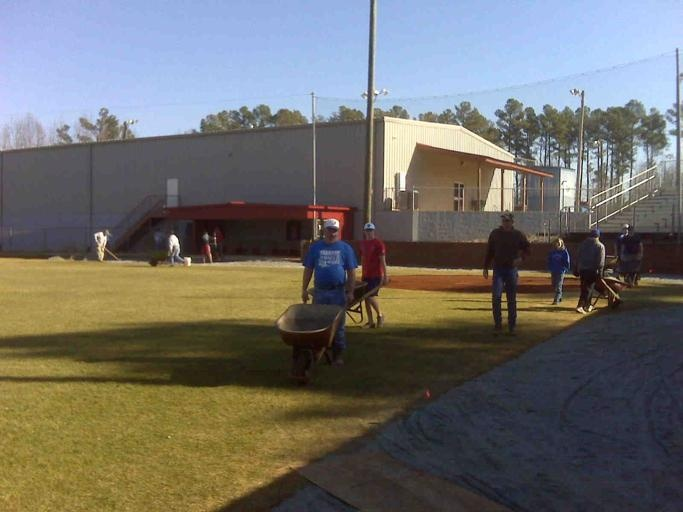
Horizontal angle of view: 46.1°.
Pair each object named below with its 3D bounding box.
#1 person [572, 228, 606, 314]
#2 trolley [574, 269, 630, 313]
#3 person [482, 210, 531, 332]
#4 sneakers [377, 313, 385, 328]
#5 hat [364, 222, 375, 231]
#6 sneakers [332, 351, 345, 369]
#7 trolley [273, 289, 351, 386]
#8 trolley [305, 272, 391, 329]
[{"bbox_3d":[4.997,0.287,16.181,0.541,1.726,0.757,2,11,17],"label":"person"},{"bbox_3d":[5.499,0.803,16.943,0.671,0.691,1.732,-3,-12,22],"label":"trolley"},{"bbox_3d":[2.908,0.289,14.244,0.758,2.124,1.017,1,11,12],"label":"person"},{"bbox_3d":[0.704,1.185,14.565,0.153,0.223,0.491,-2,-12,5],"label":"sneakers"},{"bbox_3d":[0.509,-0.550,14.632,0.178,0.167,0.272,4,-7,17],"label":"hat"},{"bbox_3d":[-0.040,1.531,11.745,0.184,0.236,0.197,1,-4,1],"label":"sneakers"},{"bbox_3d":[-0.395,1.192,11.108,0.776,1.054,1.120,2,11,13],"label":"trolley"},{"bbox_3d":[0.386,0.797,14.142,0.755,0.865,1.601,-8,-9,38],"label":"trolley"}]
